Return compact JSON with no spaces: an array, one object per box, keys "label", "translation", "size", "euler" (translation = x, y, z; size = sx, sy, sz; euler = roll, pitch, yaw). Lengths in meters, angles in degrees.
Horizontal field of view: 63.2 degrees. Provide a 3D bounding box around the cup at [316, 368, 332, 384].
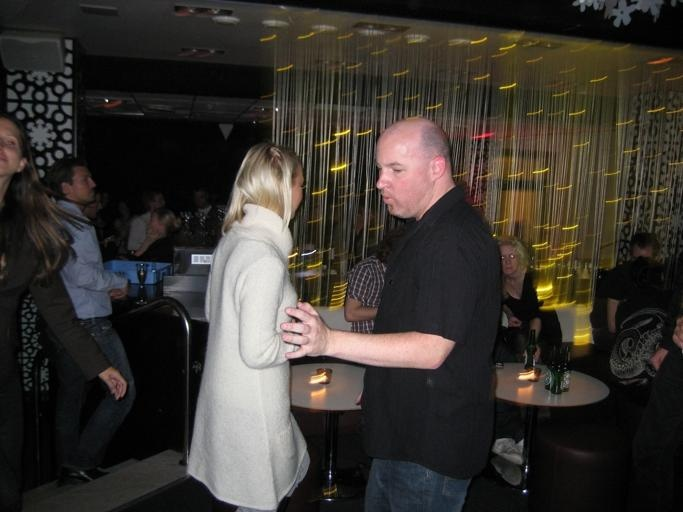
[{"label":"cup","translation":[-0.104,0.718,3.351],"size":[0.081,0.056,0.078],"euler":[-1,3,0]}]
